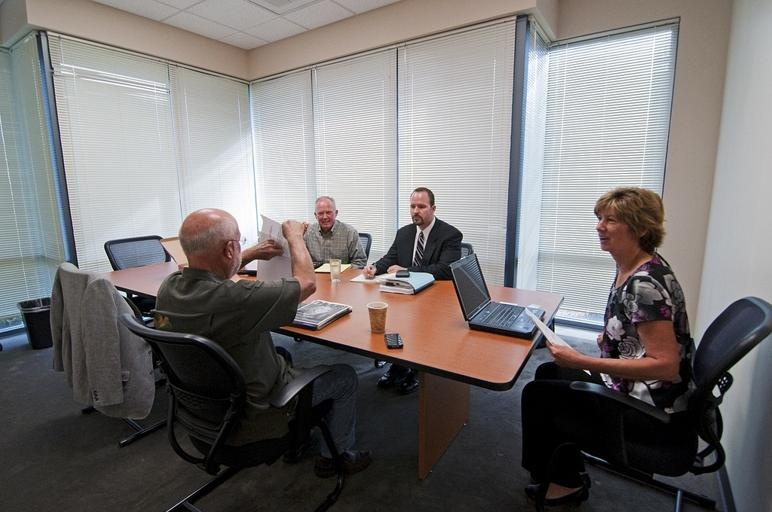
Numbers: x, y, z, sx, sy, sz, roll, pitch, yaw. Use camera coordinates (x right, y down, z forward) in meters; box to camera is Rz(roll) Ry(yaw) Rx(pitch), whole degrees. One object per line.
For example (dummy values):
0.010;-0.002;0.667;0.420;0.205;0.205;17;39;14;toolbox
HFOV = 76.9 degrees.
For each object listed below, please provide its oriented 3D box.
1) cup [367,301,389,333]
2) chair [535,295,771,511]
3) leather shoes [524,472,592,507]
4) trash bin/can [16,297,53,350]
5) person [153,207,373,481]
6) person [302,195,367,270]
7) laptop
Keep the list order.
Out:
-0.045;0.399;3.104;0.188;0.173;0.174;0;-4;0;cup
1.731;0.735;3.280;1.248;1.441;1.129;7;15;40;chair
1.111;1.514;3.119;0.402;0.139;0.208;0;1;6;leather shoes
-3.488;0.682;4.870;0.259;0.447;0.364;-8;12;-36;trash bin/can
-0.719;0.625;3.023;1.138;1.838;0.610;-8;12;-37;person
-0.475;-0.231;4.830;0.894;0.744;0.489;-1;9;19;person
0.716;0.306;3.301;0.593;0.384;0.621;4;12;31;laptop
